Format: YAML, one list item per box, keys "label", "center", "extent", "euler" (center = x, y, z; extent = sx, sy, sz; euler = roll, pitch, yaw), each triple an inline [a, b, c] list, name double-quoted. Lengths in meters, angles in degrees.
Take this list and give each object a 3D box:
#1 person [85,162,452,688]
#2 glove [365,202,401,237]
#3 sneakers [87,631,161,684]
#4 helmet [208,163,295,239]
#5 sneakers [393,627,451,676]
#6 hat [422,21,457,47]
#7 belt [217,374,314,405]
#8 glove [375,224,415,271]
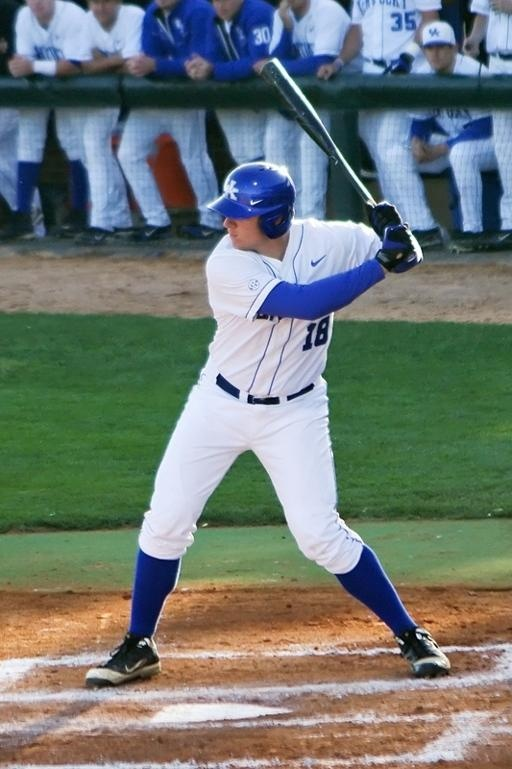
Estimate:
- label: "person"
  center: [0.065, 0.129, 3.897]
  extent: [1.080, 1.654, 0.429]
  euler: [3, 9, 8]
- label: "glove"
  center: [0.396, -0.524, 3.801]
  extent: [0.043, 0.116, 0.095]
  euler: [21, -46, -41]
- label: "sneakers"
  center: [-0.432, 0.872, 3.932]
  extent: [0.264, 0.135, 0.091]
  euler: [-2, -9, -36]
- label: "helmet"
  center: [-0.009, -0.572, 3.789]
  extent: [0.257, 0.236, 0.204]
  euler: [1, 8, -3]
- label: "sneakers"
  center: [0.517, 0.835, 3.965]
  extent: [0.090, 0.102, 0.236]
  euler: [-40, 16, -2]
- label: "hat"
  center: [1.127, -2.184, 7.660]
  extent: [0.220, 0.170, 0.151]
  euler: [4, 8, 21]
- label: "belt"
  center: [0.031, 0.015, 3.844]
  extent: [0.303, 0.081, 0.083]
  euler: [1, 8, -1]
- label: "glove"
  center: [0.440, -0.420, 3.756]
  extent: [0.121, 0.141, 0.199]
  euler: [3, 8, 11]
